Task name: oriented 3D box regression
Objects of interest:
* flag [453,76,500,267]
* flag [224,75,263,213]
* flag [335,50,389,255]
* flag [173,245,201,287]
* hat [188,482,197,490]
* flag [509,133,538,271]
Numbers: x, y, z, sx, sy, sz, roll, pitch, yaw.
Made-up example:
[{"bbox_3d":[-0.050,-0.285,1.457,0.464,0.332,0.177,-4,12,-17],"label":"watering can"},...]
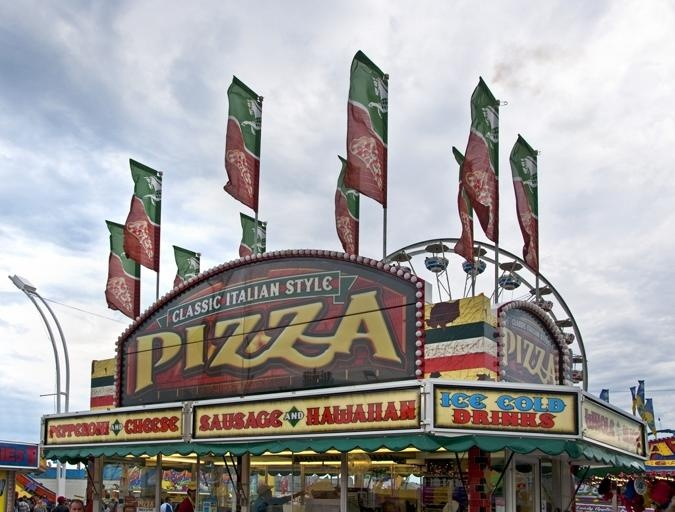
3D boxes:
[{"bbox_3d":[4.075,-2.457,23.513,1.367,5.271,2.507,-4,-22,10],"label":"flag"},{"bbox_3d":[-3.117,-3.645,26.747,1.143,4.538,0.928,4,-22,-10],"label":"flag"},{"bbox_3d":[0.864,-3.680,23.781,1.183,4.545,0.920,4,-22,-10],"label":"flag"},{"bbox_3d":[-5.786,0.497,31.018,1.296,1.939,0.199,13,-29,-36],"label":"flag"},{"bbox_3d":[-4.451,7.034,24.902,0.247,0.074,0.260,0,-2,30],"label":"hat"},{"bbox_3d":[6.066,-1.723,26.042,0.674,3.937,1.362,-12,-24,28],"label":"flag"}]
